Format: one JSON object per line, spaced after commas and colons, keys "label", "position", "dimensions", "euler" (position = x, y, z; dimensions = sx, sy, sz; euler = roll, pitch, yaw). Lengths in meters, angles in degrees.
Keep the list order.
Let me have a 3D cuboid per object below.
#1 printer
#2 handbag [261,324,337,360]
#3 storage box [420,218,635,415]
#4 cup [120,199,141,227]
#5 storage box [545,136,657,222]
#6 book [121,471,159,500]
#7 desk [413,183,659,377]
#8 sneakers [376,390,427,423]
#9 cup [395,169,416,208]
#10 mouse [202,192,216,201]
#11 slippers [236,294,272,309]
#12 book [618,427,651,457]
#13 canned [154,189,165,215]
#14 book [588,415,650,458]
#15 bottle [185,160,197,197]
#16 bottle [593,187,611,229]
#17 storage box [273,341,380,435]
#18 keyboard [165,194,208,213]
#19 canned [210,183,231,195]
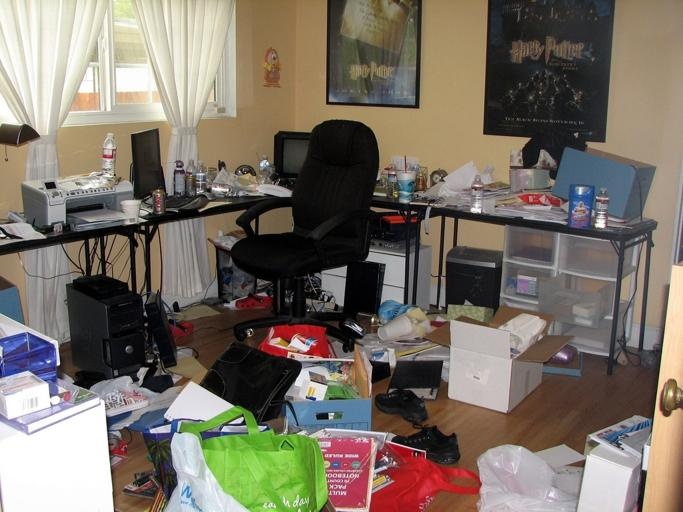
{"label": "printer", "position": [-1.613, -0.392, 3.296], "dimensions": [0.375, 0.281, 0.528], "euler": [19, 27, 32]}
{"label": "handbag", "position": [-0.256, 0.507, 3.287], "dimensions": [0.260, 0.110, 0.266], "euler": [1, 8, -17]}
{"label": "storage box", "position": [1.224, 0.397, 3.452], "dimensions": [0.949, 0.942, 0.413], "euler": [9, 11, 38]}
{"label": "cup", "position": [-1.292, -0.269, 3.375], "dimensions": [0.136, 0.144, 0.136], "euler": [1, 8, 0]}
{"label": "storage box", "position": [1.660, -0.483, 3.454], "dimensions": [0.515, 0.337, 0.532], "euler": [29, 26, 31]}
{"label": "book", "position": [-0.878, 1.014, 2.437], "dimensions": [0.163, 0.046, 0.168], "euler": [-5, 13, -9]}
{"label": "desk", "position": [1.322, 0.160, 3.568], "dimensions": [0.411, 0.745, 1.061], "euler": [-11, 19, -43]}
{"label": "sneakers", "position": [0.329, 0.806, 3.020], "dimensions": [0.266, 0.124, 0.125], "euler": [22, 30, 37]}
{"label": "cup", "position": [0.457, -0.488, 3.966], "dimensions": [0.194, 0.295, 0.195], "euler": [0, 8, 0]}
{"label": "mouse", "position": [-0.954, -0.435, 3.964], "dimensions": [0.068, 0.026, 0.068], "euler": [30, 28, 32]}
{"label": "slippers", "position": [-0.720, 0.373, 4.483], "dimensions": [0.203, 0.098, 0.125], "euler": [-1, 7, -15]}
{"label": "book", "position": [1.107, 0.707, 2.082], "dimensions": [0.086, 0.024, 0.208], "euler": [13, 21, 39]}
{"label": "canned", "position": [-1.181, -0.351, 3.550], "dimensions": [0.073, 0.156, 0.069], "euler": [-5, 14, -23]}
{"label": "book", "position": [1.115, 0.715, 2.199], "dimensions": [0.163, 0.064, 0.234], "euler": [15, 23, 41]}
{"label": "bottle", "position": [-1.120, -0.589, 4.081], "dimensions": [0.075, 0.236, 0.340], "euler": [-3, 13, -14]}
{"label": "bottle", "position": [1.579, -0.291, 3.335], "dimensions": [0.081, 0.233, 0.117], "euler": [6, 14, 26]}
{"label": "storage box", "position": [-0.056, 0.613, 2.617], "dimensions": [0.363, 0.241, 0.366], "euler": [-2, 22, 4]}
{"label": "keyboard", "position": [-1.057, -0.370, 3.783], "dimensions": [0.287, 0.070, 0.367], "euler": [-4, 14, -16]}
{"label": "canned", "position": [-0.900, -0.495, 4.097], "dimensions": [0.170, 0.108, 0.104], "euler": [4, -9, 2]}
